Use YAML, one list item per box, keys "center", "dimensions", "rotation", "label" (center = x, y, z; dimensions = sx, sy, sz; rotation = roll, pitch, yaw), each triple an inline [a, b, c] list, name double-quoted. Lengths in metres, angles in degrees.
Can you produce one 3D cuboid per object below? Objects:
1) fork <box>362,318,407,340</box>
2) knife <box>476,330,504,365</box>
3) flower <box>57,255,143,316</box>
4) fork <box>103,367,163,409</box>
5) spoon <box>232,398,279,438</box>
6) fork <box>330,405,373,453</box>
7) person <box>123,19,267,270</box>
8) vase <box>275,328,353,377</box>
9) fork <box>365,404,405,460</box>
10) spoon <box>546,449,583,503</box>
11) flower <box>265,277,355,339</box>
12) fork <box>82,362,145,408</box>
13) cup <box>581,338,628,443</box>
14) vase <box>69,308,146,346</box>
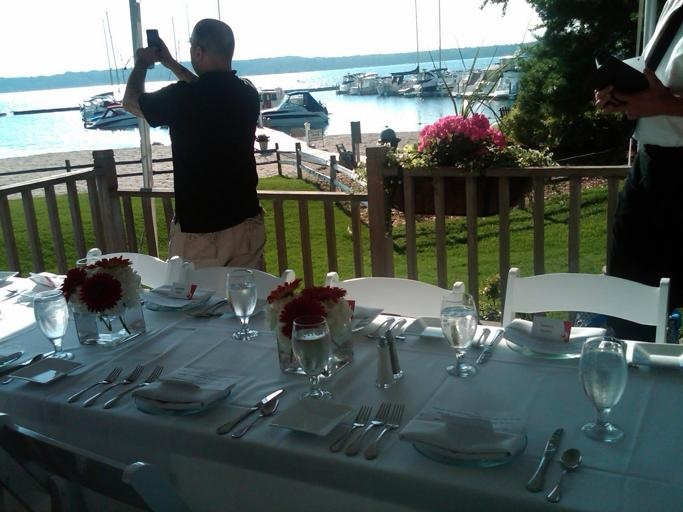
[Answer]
- center: [0.159, 0.244, 1.700]
  dimensions: [0.059, 0.023, 0.115]
  rotation: [5, 25, 36]
  label: "fork"
- center: [0.451, 0.282, 1.508]
  dimensions: [0.043, 0.043, 0.290]
  rotation: [1, 16, 25]
  label: "knife"
- center: [-0.781, 0.059, 1.673]
  dimensions: [0.172, 0.077, 0.177]
  rotation: [-11, 14, -30]
  label: "flower"
- center: [-0.579, 0.372, 1.415]
  dimensions: [0.037, 0.032, 0.225]
  rotation: [-5, 6, 13]
  label: "fork"
- center: [-0.208, 0.387, 1.225]
  dimensions: [0.032, 0.026, 0.188]
  rotation: [0, 10, 13]
  label: "spoon"
- center: [0.029, 0.396, 1.218]
  dimensions: [0.034, 0.036, 0.238]
  rotation: [-5, 11, 18]
  label: "fork"
- center: [-0.758, -0.532, 2.715]
  dimensions: [0.665, 1.381, 0.537]
  rotation: [-5, 14, -7]
  label: "person"
- center: [-0.087, 0.292, 1.498]
  dimensions: [0.214, 0.151, 0.221]
  rotation: [0, -10, 23]
  label: "vase"
- center: [0.119, 0.397, 1.200]
  dimensions: [0.035, 0.039, 0.265]
  rotation: [-11, 15, 25]
  label: "fork"
- center: [0.432, 0.436, 0.982]
  dimensions: [0.034, 0.024, 0.166]
  rotation: [10, 23, 37]
  label: "spoon"
- center: [-0.098, 0.126, 1.428]
  dimensions: [0.167, 0.074, 0.172]
  rotation: [3, 7, 27]
  label: "flower"
- center: [-0.638, 0.364, 1.422]
  dimensions: [0.036, 0.033, 0.223]
  rotation: [-8, 7, 12]
  label: "fork"
- center: [0.591, 0.278, 1.128]
  dimensions: [0.093, 0.216, 0.189]
  rotation: [6, 17, 31]
  label: "cup"
- center: [-0.796, 0.197, 1.729]
  dimensions: [0.160, 0.165, 0.161]
  rotation: [-11, 16, -43]
  label: "vase"
